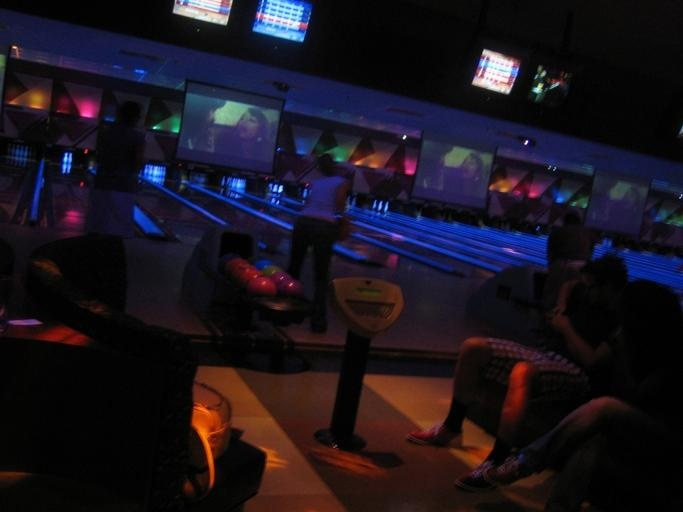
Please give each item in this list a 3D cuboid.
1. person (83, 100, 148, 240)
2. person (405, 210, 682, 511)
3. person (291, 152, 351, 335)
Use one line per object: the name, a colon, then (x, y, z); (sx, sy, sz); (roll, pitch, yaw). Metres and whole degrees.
person: (-1.256, -0.473, 2.831); (0.258, 0.762, 0.414); (6, 10, -27)
person: (0.956, 0.485, 2.686); (1.159, 1.802, 0.919); (14, -3, -8)
person: (-0.151, -0.083, 3.087); (0.331, 1.060, 0.182); (11, 8, 3)
